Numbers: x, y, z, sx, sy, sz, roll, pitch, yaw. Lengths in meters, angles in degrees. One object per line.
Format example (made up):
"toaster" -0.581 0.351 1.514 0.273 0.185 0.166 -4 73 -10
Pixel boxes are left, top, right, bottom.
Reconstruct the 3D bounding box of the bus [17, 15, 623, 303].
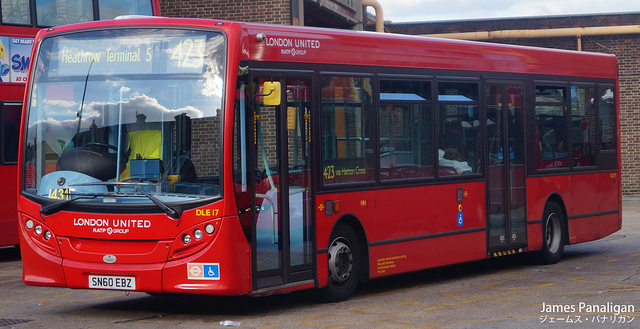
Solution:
"bus" 1.398 -0.125 15.285 14.846 4.849 3.086 -3 1 -34

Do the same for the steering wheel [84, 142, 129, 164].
"steering wheel" -3.842 -0.210 11.959 0.910 0.367 0.093 -2 1 23

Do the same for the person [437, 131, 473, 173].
"person" 2.940 -0.251 14.679 0.714 0.871 0.284 2 15 29
